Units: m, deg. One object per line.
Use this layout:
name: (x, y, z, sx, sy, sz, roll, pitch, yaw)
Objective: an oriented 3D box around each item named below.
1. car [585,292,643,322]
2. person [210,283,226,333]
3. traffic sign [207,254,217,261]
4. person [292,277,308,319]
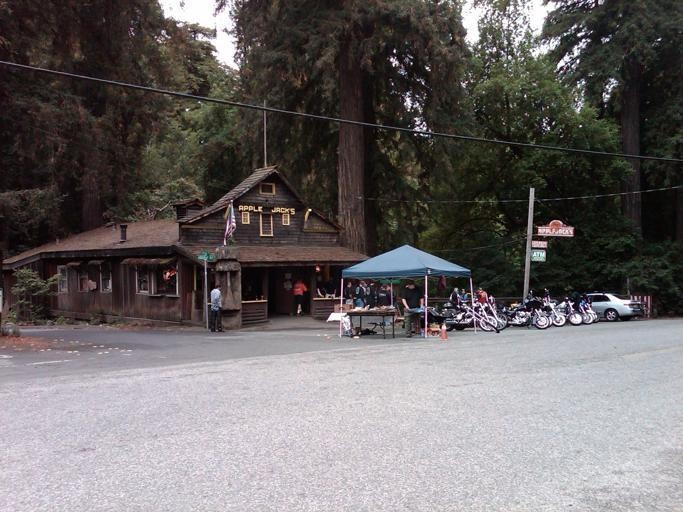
car: (13.233, 2.446, 33.847, 3.087, 1.121, 1.428, 2, 0, 32)
person: (-5.077, 2.083, 27.556, 0.515, 1.946, 0.973, -1, -5, -12)
traffic sign: (-5.402, 0.072, 27.866, 0.273, 0.208, 0.293, -3, 2, 7)
person: (-2.123, 2.097, 34.583, 0.646, 1.847, 1.404, -2, -5, -6)
